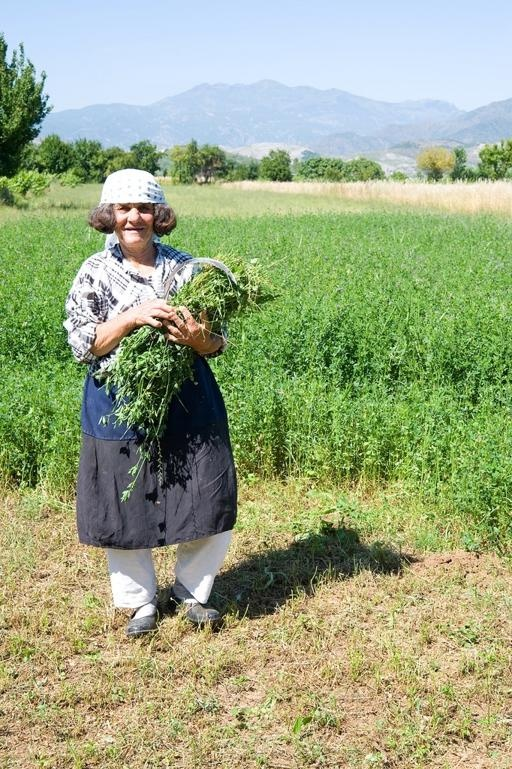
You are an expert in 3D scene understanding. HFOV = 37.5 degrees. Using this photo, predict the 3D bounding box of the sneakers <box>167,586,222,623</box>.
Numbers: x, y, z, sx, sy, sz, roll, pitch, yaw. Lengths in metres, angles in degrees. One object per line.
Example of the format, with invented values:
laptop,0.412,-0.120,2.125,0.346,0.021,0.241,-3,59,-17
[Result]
sneakers,-0.294,1.047,3.616,0.111,0.117,0.299,-7,2,-42

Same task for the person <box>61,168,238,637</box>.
person,-0.451,0.138,3.301,0.719,2.092,0.446,0,13,-3

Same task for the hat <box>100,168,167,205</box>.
hat,-0.523,-0.829,3.134,0.212,0.104,0.205,-16,32,-27
